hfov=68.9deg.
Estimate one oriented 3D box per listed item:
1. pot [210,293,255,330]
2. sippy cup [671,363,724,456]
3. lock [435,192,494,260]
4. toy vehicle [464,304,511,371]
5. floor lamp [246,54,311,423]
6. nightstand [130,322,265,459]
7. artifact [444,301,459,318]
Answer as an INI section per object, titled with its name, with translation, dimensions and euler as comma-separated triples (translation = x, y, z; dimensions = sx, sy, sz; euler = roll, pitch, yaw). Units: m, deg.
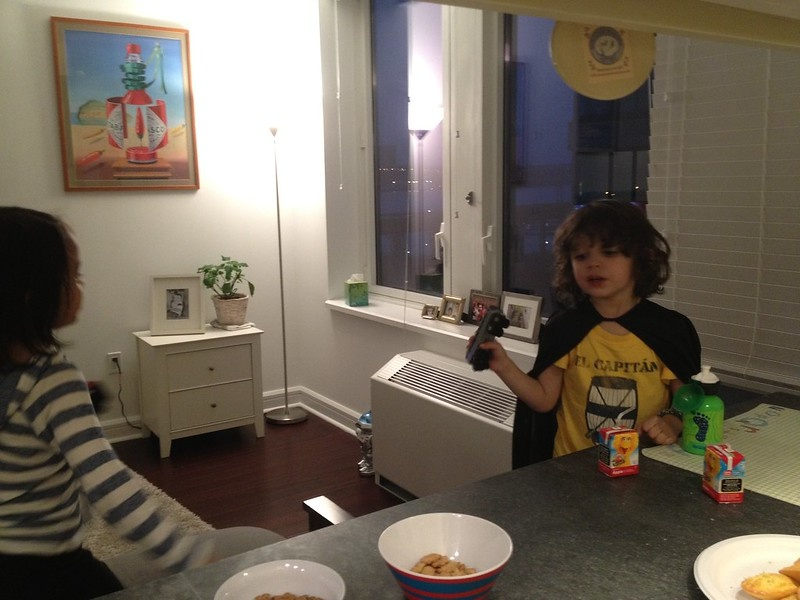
[pot]
translation = -1.093, 0.074, 3.785
dimensions = 0.243, 0.160, 0.233
euler = 1, 1, 0
[sippy cup]
translation = 0.681, 0.258, 1.325
dimensions = 0.109, 0.203, 0.223
euler = 6, 14, 28
[lock]
translation = 0.342, -0.384, 3.014
dimensions = 0.067, 0.348, 0.298
euler = -9, 17, -38
[toy vehicle]
translation = 0.222, 0.104, 1.540
dimensions = 0.123, 0.180, 0.073
euler = 6, 15, 26
[floor lamp]
translation = -0.851, -0.215, 4.125
dimensions = 0.362, 2.086, 0.341
euler = -8, 10, -41
[nightstand]
translation = -1.317, 0.459, 3.788
dimensions = 0.777, 0.786, 0.554
euler = -5, 14, -36
[artifact]
translation = 0.283, 0.054, 3.157
dimensions = 0.024, 0.083, 0.086
euler = 11, -4, -41
